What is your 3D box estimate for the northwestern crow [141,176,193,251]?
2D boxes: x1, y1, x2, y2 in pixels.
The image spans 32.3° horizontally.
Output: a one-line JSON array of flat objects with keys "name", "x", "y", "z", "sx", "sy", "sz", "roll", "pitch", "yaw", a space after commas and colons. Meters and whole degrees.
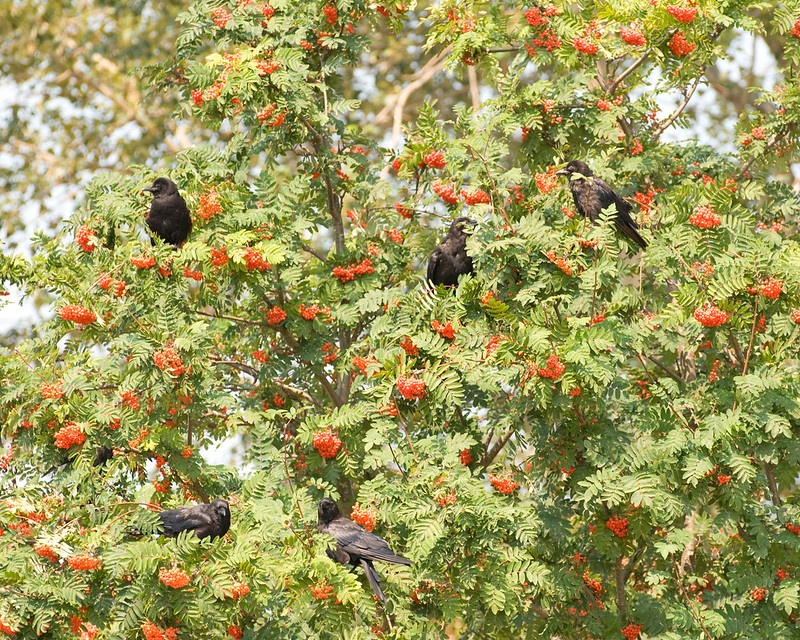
[{"name": "northwestern crow", "x": -1.800, "y": -0.824, "z": 10.769, "sx": 0.398, "sy": 0.634, "sz": 0.345, "roll": -6, "pitch": 15, "yaw": -26}]

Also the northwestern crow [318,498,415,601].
[{"name": "northwestern crow", "x": -0.289, "y": 1.603, "z": 9.791, "sx": 0.855, "sy": 0.302, "sz": 0.561, "roll": 8, "pitch": 68, "yaw": 26}]

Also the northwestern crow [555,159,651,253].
[{"name": "northwestern crow", "x": 1.543, "y": -0.953, "z": 10.589, "sx": 0.657, "sy": 0.780, "sz": 0.356, "roll": 0, "pitch": 33, "yaw": 7}]
